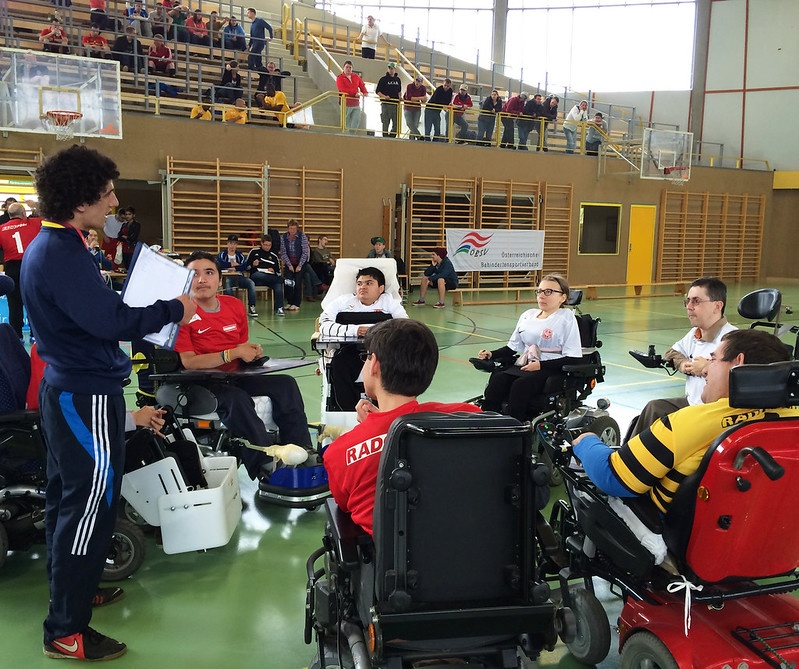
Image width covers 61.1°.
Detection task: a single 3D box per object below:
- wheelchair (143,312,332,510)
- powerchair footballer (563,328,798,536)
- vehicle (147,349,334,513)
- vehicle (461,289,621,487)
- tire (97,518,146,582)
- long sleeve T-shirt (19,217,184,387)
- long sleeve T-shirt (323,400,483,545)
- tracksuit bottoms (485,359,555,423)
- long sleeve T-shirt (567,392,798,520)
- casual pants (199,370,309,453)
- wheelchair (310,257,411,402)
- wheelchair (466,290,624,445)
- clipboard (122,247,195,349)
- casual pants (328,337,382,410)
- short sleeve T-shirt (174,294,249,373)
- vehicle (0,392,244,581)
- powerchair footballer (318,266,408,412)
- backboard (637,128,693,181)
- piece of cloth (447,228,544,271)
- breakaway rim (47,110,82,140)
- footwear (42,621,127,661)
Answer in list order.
[{"bbox_3d":[-0.989,0.610,4.099,1.341,0.837,0.634,0,7,13],"label":"wheelchair"},{"bbox_3d":[0.946,0.292,2.543,0.634,0.868,0.678,-4,25,-17],"label":"powerchair footballer"},{"bbox_3d":[-0.923,0.464,4.107,1.124,1.051,0.886,5,7,-5],"label":"vehicle"},{"bbox_3d":[1.204,0.205,4.879,1.164,1.387,0.901,3,-1,-24],"label":"vehicle"},{"bbox_3d":[-1.307,1.006,3.138,0.254,0.257,0.084,23,-6,-15],"label":"tire"},{"bbox_3d":[-1.189,-0.106,2.721,0.522,0.679,0.511,-7,11,-37],"label":"long sleeve T-shirt"},{"bbox_3d":[-0.007,0.408,2.235,0.353,0.417,0.494,-1,6,-15],"label":"long sleeve T-shirt"},{"bbox_3d":[0.783,0.368,4.657,0.458,0.550,0.395,10,-4,-39],"label":"tracksuit bottoms"},{"bbox_3d":[0.941,0.480,2.353,0.408,0.203,0.523,-4,-17,-42],"label":"long sleeve T-shirt"},{"bbox_3d":[-0.840,0.390,4.138,0.465,0.601,0.591,-4,12,-5],"label":"casual pants"},{"bbox_3d":[-0.339,-0.052,5.118,0.754,1.087,1.004,0,8,-3],"label":"wheelchair"},{"bbox_3d":[0.874,0.230,4.716,1.218,1.237,0.845,-1,5,-38],"label":"wheelchair"},{"bbox_3d":[-1.036,-0.142,2.878,0.350,0.368,0.088,27,-13,-8],"label":"clipboard"},{"bbox_3d":[-0.321,0.262,4.813,0.342,0.542,0.261,10,-6,-19],"label":"casual pants"},{"bbox_3d":[-1.196,0.011,4.408,0.496,0.489,0.266,-13,24,-41],"label":"short sleeve T-shirt"},{"bbox_3d":[-1.342,0.751,3.461,1.032,0.726,0.720,-1,7,-6],"label":"vehicle"},{"bbox_3d":[-0.251,0.137,5.077,0.630,1.204,0.739,2,12,13],"label":"powerchair footballer"},{"bbox_3d":[7.382,-4.773,17.833,1.545,0.871,1.580,13,29,33],"label":"backboard"},{"bbox_3d":[1.994,-1.759,14.215,2.488,0.913,0.055,6,19,43],"label":"piece of cloth"},{"bbox_3d":[-5.083,-3.164,10.291,0.355,0.235,0.360,1,9,13],"label":"breakaway rim"},{"bbox_3d":[-1.216,1.211,2.682,0.304,0.133,0.126,1,2,-6],"label":"footwear"}]
